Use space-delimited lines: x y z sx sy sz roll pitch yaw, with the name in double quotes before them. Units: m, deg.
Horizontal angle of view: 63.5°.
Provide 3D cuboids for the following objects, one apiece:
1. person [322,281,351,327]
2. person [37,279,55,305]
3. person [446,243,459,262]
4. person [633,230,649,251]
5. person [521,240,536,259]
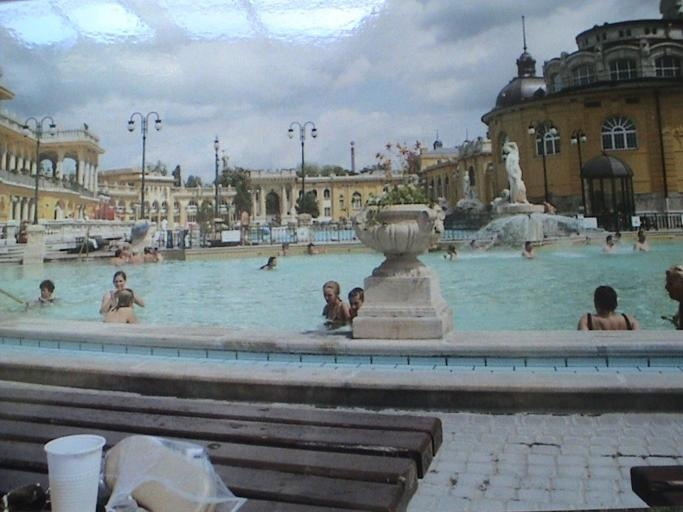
"person" -0.071 0.755 8.792 0.419 0.722 0.828 2 0 -2
"person" -6.453 0.786 12.154 0.331 0.555 0.766 2 0 -29
"person" 4.106 -0.135 20.479 0.337 0.569 1.128 2 0 10
"person" 10.501 -0.539 19.401 0.440 0.687 1.236 2 0 28
"person" 6.559 -0.197 19.378 0.400 0.547 0.745 2 0 19
